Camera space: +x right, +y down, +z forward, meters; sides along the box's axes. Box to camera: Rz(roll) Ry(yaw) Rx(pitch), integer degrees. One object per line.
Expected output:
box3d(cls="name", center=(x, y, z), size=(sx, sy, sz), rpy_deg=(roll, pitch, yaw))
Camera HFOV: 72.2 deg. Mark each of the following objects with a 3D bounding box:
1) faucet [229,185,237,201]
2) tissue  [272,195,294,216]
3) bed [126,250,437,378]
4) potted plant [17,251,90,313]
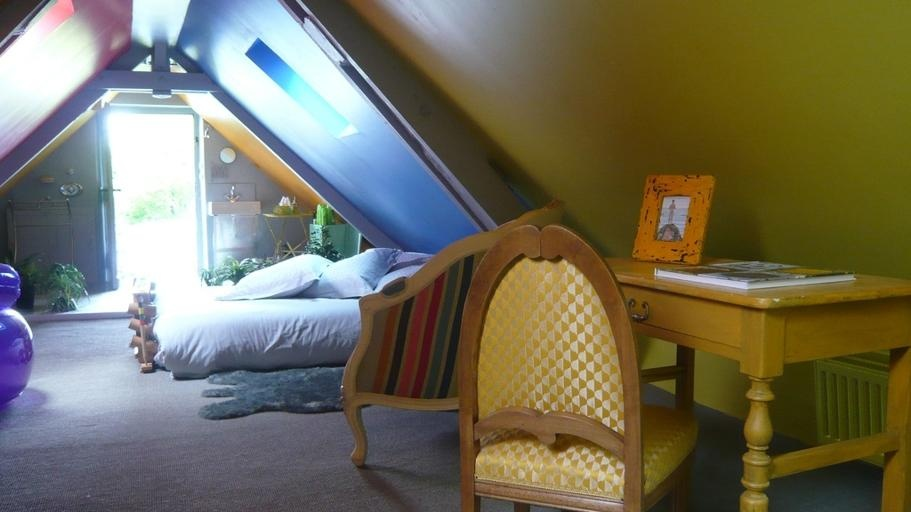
box3d(cls="faucet", center=(-3.057, -0.859, 8.566), size=(0.100, 0.212, 0.045), rpy_deg=(2, -2, 0))
box3d(cls="tissue ", center=(-2.255, -0.666, 8.229), size=(0.379, 0.263, 0.368), rpy_deg=(1, -2, -1))
box3d(cls="bed", center=(-1.581, 0.504, 5.163), size=(1.716, 0.619, 1.306), rpy_deg=(0, 7, -8))
box3d(cls="potted plant", center=(-4.541, 0.344, 7.091), size=(0.760, 0.514, 0.771), rpy_deg=(3, -2, 29))
